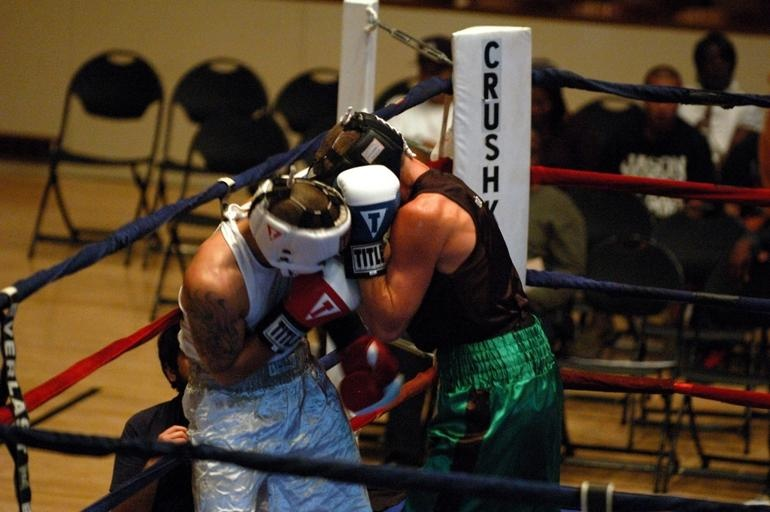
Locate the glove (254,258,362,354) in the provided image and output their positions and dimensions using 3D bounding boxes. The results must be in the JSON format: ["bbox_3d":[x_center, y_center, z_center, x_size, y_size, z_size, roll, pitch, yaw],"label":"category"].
[{"bbox_3d":[-0.347,0.238,4.877,0.341,0.476,0.186,49,-1,3],"label":"glove"}]

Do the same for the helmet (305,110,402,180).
[{"bbox_3d":[-0.147,-0.513,5.017,0.398,0.289,0.367,-6,-15,-19],"label":"helmet"}]

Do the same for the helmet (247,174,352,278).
[{"bbox_3d":[-0.447,-0.144,4.835,0.481,0.445,0.396,2,41,-13],"label":"helmet"}]
